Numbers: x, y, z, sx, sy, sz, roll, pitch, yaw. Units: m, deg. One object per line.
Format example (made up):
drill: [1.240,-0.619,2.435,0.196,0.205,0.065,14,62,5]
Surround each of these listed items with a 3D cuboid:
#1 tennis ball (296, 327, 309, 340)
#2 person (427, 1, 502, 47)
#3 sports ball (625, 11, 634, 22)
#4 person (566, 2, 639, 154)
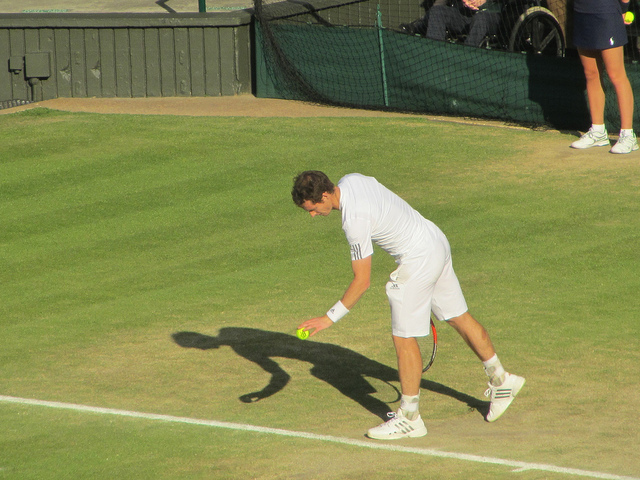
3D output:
tennis ball: [-0.137,0.925,12.924,0.104,0.127,0.091,3,12,18]
person: [2.456,-3.735,22.473,1.195,0.707,0.739,9,15,39]
sports ball: [4.359,-3.214,18.822,0.096,0.151,0.481,3,12,17]
person: [4.004,-2.325,18.883,0.875,2.174,0.580,5,13,25]
